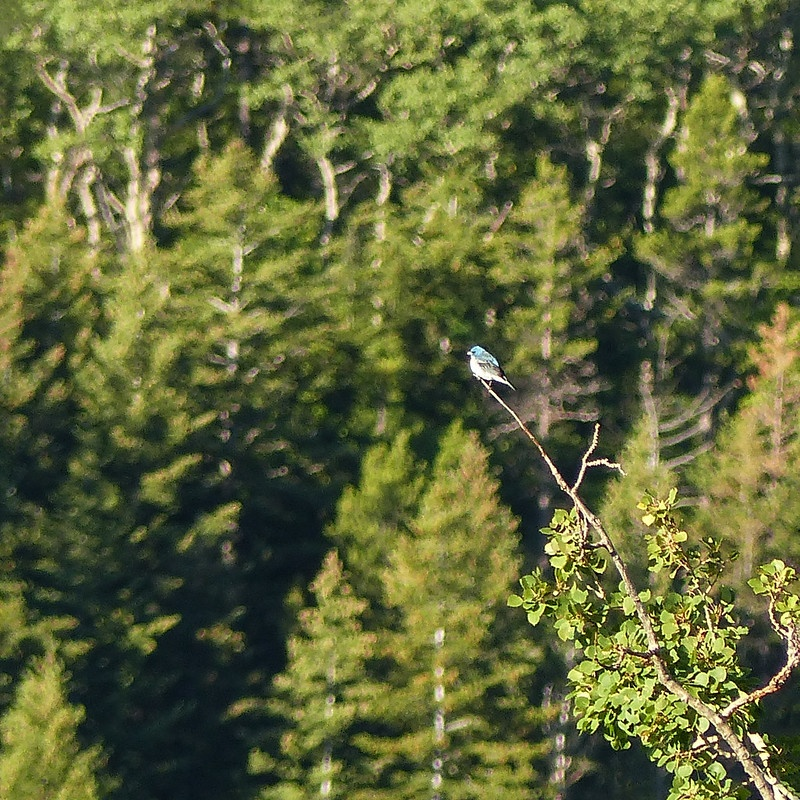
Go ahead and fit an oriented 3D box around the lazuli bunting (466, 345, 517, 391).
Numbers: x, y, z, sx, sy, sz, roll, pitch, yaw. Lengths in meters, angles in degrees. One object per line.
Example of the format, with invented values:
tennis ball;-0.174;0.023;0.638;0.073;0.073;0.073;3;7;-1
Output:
lazuli bunting;0.615;-0.300;17.079;0.208;0.293;0.439;-11;11;-2
